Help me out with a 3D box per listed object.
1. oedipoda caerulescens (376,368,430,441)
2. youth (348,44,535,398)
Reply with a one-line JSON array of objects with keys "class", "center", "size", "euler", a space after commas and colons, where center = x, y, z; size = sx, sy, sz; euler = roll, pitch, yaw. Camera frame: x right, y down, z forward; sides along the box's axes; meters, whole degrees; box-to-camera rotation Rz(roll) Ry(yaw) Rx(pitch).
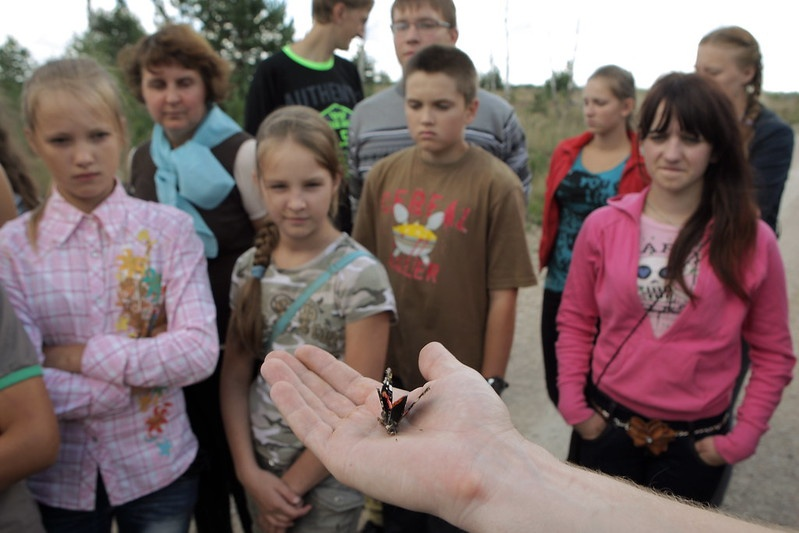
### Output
[{"class": "oedipoda caerulescens", "center": [0.005, 0.596, 3.212], "size": [0.209, 0.275, 0.255], "euler": [7, 14, 10]}, {"class": "youth", "center": [0.304, -0.219, 4.483], "size": [0.807, 2.374, 0.790], "euler": [1, 17, -3]}]
